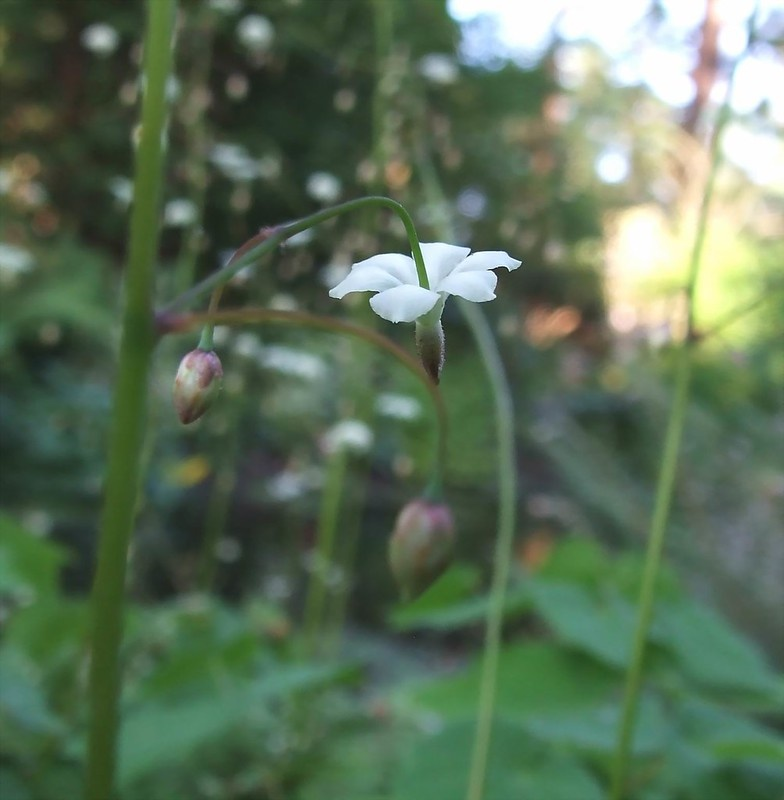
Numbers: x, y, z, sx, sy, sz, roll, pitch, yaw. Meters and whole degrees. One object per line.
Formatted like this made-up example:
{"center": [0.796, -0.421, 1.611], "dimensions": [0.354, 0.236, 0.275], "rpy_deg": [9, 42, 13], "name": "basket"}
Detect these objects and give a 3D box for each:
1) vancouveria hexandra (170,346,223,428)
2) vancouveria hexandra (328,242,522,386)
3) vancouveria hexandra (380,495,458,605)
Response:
{"center": [-0.148, -0.010, 0.723], "dimensions": [0.033, 0.058, 0.047], "rpy_deg": [7, -11, -12], "name": "vancouveria hexandra"}
{"center": [0.025, -0.060, 0.741], "dimensions": [0.124, 0.075, 0.112], "rpy_deg": [-10, -10, 34], "name": "vancouveria hexandra"}
{"center": [0.017, 0.119, 0.786], "dimensions": [0.071, 0.084, 0.053], "rpy_deg": [19, -31, -14], "name": "vancouveria hexandra"}
